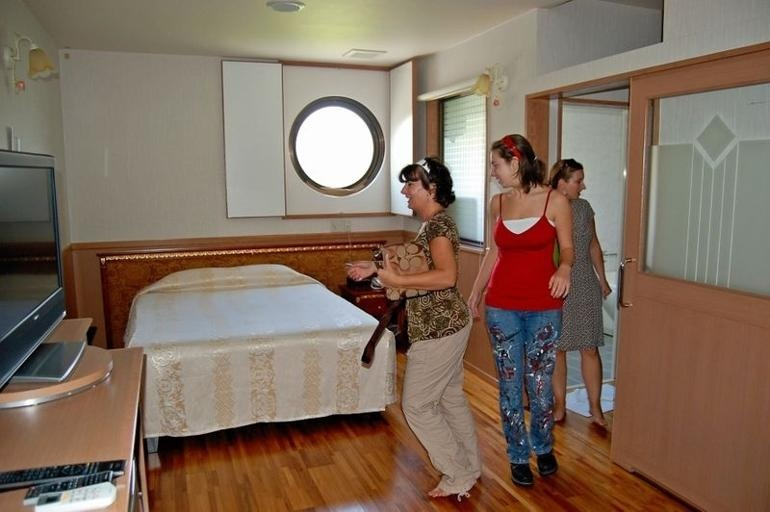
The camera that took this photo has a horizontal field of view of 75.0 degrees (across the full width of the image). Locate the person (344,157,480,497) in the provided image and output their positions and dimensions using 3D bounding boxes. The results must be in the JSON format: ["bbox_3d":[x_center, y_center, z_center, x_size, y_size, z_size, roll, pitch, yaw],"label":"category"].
[{"bbox_3d":[0.272,0.478,3.158,0.701,2.134,0.457,2,14,12],"label":"person"}]

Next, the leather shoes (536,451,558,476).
[{"bbox_3d":[1.112,1.421,3.437,0.078,0.088,0.201,-4,0,13],"label":"leather shoes"}]

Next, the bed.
[{"bbox_3d":[-0.994,0.806,3.935,1.357,0.402,1.380,-5,14,-20],"label":"bed"}]

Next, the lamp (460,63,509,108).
[{"bbox_3d":[0.957,-1.518,4.495,0.290,0.353,0.166,4,15,18],"label":"lamp"}]

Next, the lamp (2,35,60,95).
[{"bbox_3d":[-2.693,-1.464,3.799,0.287,0.438,0.626,-10,17,-31],"label":"lamp"}]

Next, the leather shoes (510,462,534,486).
[{"bbox_3d":[0.914,1.461,3.353,0.083,0.092,0.191,1,-11,-5],"label":"leather shoes"}]

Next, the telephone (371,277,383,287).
[{"bbox_3d":[-0.050,0.160,3.014,0.065,0.051,0.050,19,10,27],"label":"telephone"}]

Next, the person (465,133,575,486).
[{"bbox_3d":[0.915,0.365,3.281,0.525,2.242,0.473,4,15,18],"label":"person"}]

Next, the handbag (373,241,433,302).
[{"bbox_3d":[0.118,0.087,2.978,0.316,0.335,0.099,2,0,-8],"label":"handbag"}]
